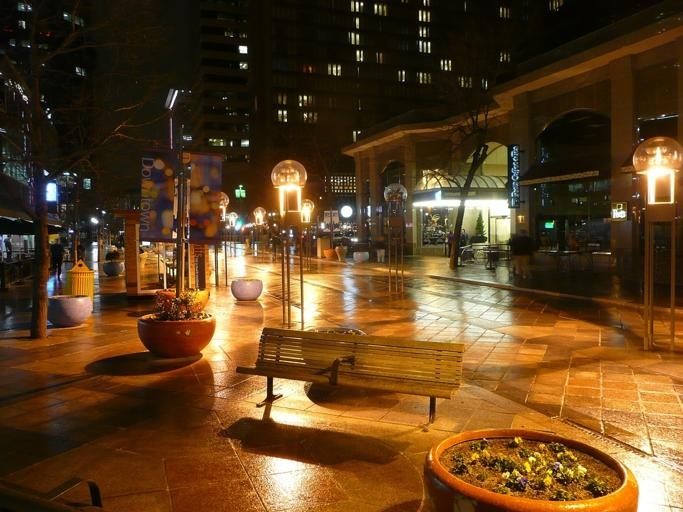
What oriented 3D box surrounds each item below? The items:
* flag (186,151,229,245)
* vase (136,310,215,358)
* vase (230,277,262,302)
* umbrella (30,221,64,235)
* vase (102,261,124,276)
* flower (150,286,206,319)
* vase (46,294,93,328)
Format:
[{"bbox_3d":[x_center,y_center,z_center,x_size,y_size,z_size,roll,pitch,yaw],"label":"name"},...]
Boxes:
[{"bbox_3d":[-3.154,-1.318,12.366,0.723,2.076,0.381,0,1,-18],"label":"flag"},{"bbox_3d":[-3.105,1.494,9.946,0.944,0.480,0.923,0,3,17],"label":"vase"},{"bbox_3d":[-3.267,1.153,18.076,0.786,0.505,0.798,-2,-2,33],"label":"vase"},{"bbox_3d":[-11.363,-1.097,20.737,1.304,0.465,1.471,5,6,31],"label":"umbrella"},{"bbox_3d":[-11.596,0.638,27.292,0.808,0.606,0.826,2,4,-13],"label":"vase"},{"bbox_3d":[-3.511,1.025,11.549,1.107,0.675,1.052,0,-1,-7],"label":"flower"},{"bbox_3d":[-6.712,1.395,13.412,0.787,0.592,0.813,0,-6,-1],"label":"vase"}]
